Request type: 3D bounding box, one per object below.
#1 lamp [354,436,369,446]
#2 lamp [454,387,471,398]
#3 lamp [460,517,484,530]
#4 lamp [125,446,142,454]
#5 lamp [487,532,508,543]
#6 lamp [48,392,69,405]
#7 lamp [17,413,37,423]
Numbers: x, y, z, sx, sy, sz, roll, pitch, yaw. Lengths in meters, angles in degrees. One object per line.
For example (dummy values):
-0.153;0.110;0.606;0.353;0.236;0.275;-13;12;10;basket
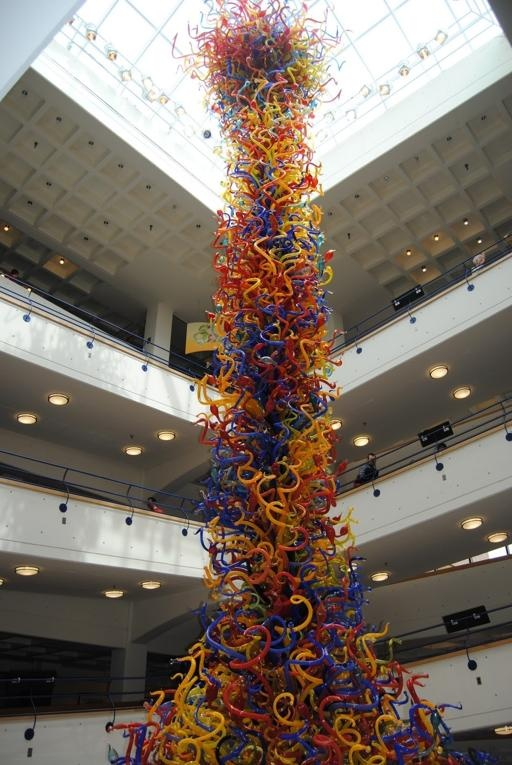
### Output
2.348;1.288;13.954;0.320;0.070;0.502;-7;-26;3;lamp
4.014;0.221;12.222;0.255;0.057;0.250;24;-37;-31;lamp
3.448;2.257;10.003;0.315;0.077;0.305;12;-30;-21;lamp
-2.689;1.484;13.712;0.257;0.063;0.248;5;-29;-13;lamp
4.128;2.682;10.746;0.314;0.077;0.305;16;-33;-22;lamp
-3.617;0.292;11.447;0.268;0.057;0.259;7;-28;-18;lamp
-4.429;0.689;12.046;0.257;0.059;0.248;8;-30;-20;lamp
